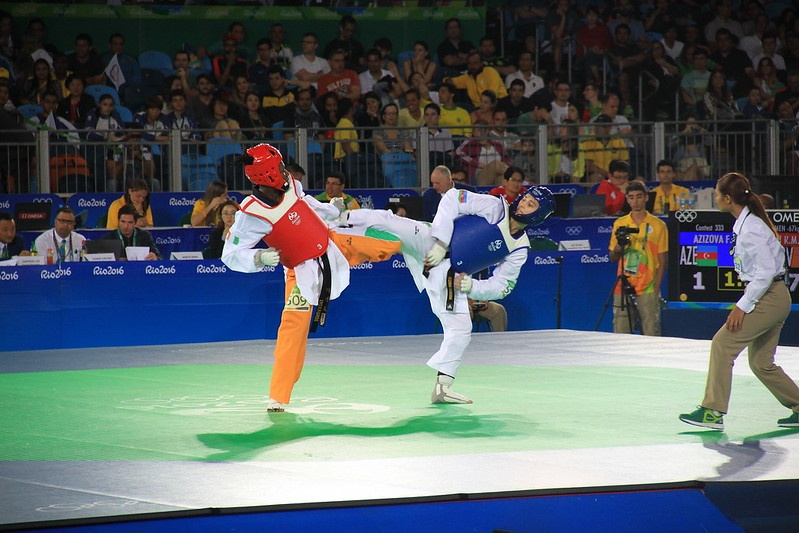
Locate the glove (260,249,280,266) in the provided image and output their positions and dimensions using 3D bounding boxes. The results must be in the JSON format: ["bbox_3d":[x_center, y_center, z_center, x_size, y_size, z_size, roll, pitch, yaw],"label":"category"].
[{"bbox_3d":[-1.411,-0.099,11.257,0.218,0.191,0.145,-4,5,-4],"label":"glove"}]

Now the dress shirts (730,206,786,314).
[{"bbox_3d":[3.699,-0.067,10.716,0.496,1.083,0.404,2,10,17],"label":"dress shirts"}]

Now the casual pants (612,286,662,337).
[{"bbox_3d":[3.696,0.818,16.109,0.676,0.389,1.299,-11,39,18],"label":"casual pants"}]

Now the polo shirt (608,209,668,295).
[{"bbox_3d":[3.746,-0.233,16.047,0.923,1.160,0.629,3,14,38],"label":"polo shirt"}]

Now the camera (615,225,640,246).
[{"bbox_3d":[3.424,-0.485,15.788,0.363,0.304,0.254,2,-2,2],"label":"camera"}]

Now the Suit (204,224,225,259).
[{"bbox_3d":[-2.855,-0.408,16.234,0.449,0.552,0.208,2,-4,16],"label":"Suit"}]

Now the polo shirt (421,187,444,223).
[{"bbox_3d":[0.492,-1.005,16.575,0.449,0.528,0.169,4,7,-5],"label":"polo shirt"}]

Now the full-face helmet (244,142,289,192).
[{"bbox_3d":[-1.547,-1.079,11.305,0.516,0.487,0.427,-6,17,-6],"label":"full-face helmet"}]

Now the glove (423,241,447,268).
[{"bbox_3d":[0.400,-0.139,11.704,0.186,0.307,0.089,29,14,-2],"label":"glove"}]

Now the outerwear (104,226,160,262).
[{"bbox_3d":[-4.175,-0.368,16.059,0.899,0.434,0.669,-1,9,-3],"label":"outerwear"}]

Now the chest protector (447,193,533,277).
[{"bbox_3d":[0.966,-0.373,11.601,0.951,0.594,0.471,-9,30,-4],"label":"chest protector"}]

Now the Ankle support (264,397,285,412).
[{"bbox_3d":[-1.382,1.528,11.392,0.160,0.126,0.324,1,-10,-9],"label":"Ankle support"}]

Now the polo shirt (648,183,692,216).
[{"bbox_3d":[4.510,-1.123,17.389,0.755,0.621,0.374,1,-13,11],"label":"polo shirt"}]

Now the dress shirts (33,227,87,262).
[{"bbox_3d":[-5.147,-0.223,15.839,0.717,0.625,0.395,-4,-2,-30],"label":"dress shirts"}]

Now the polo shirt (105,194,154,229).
[{"bbox_3d":[-4.447,-0.960,17.147,0.780,0.574,0.409,-8,-1,13],"label":"polo shirt"}]

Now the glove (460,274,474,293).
[{"bbox_3d":[0.731,0.194,11.582,0.147,0.225,0.174,0,9,3],"label":"glove"}]
